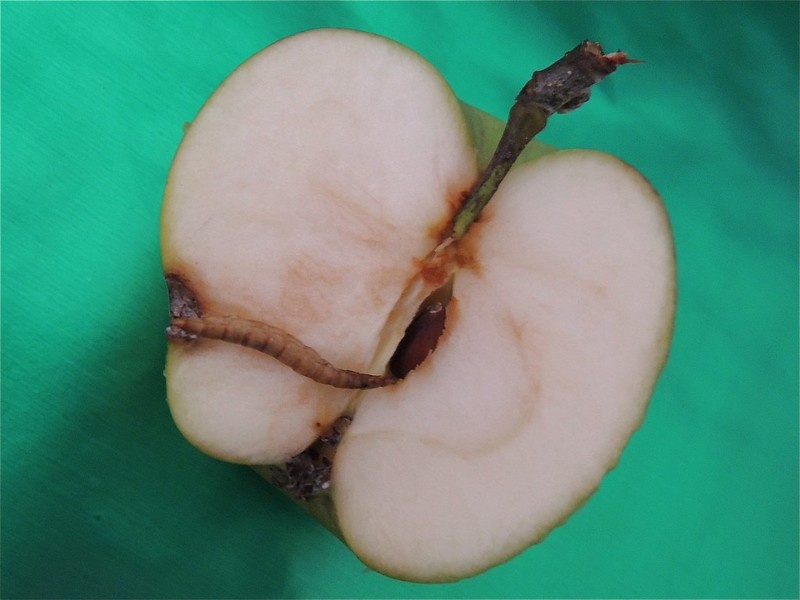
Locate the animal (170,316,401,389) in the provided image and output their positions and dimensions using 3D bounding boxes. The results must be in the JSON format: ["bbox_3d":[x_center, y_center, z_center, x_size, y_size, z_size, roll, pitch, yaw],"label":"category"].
[{"bbox_3d":[-0.202,0.085,1.560,0.266,0.035,0.051,16,50,-15],"label":"animal"}]
